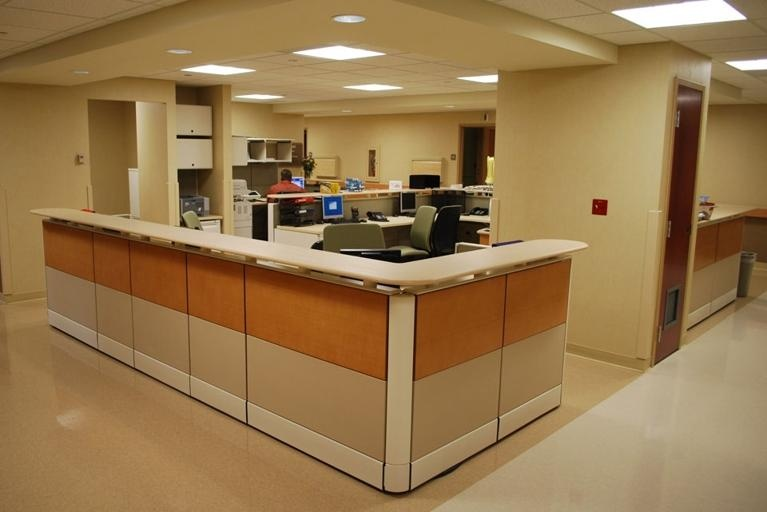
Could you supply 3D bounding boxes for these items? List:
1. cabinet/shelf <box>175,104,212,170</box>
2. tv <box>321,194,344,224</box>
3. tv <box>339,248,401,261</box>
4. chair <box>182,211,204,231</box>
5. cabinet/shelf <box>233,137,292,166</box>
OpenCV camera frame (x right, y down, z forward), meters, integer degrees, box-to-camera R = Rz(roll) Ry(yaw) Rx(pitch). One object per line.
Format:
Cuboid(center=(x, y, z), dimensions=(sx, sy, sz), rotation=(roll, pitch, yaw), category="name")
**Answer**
Cuboid(center=(-3.565, -2.204, 10.317), dimensions=(0.850, 1.168, 0.619), rotation=(-10, 18, -36), category="cabinet/shelf")
Cuboid(center=(-0.839, -0.755, 8.865), dimensions=(0.541, 0.507, 0.059), rotation=(-5, 7, -37), category="tv")
Cuboid(center=(-0.074, -0.017, 5.173), dimensions=(0.413, 0.116, 0.288), rotation=(1, -6, 2), category="tv")
Cuboid(center=(-2.647, -0.491, 7.606), dimensions=(0.176, 0.196, 0.358), rotation=(-7, 17, -27), category="chair")
Cuboid(center=(-2.796, -2.466, 12.998), dimensions=(0.795, 0.763, 2.876), rotation=(2, 15, 2), category="cabinet/shelf")
